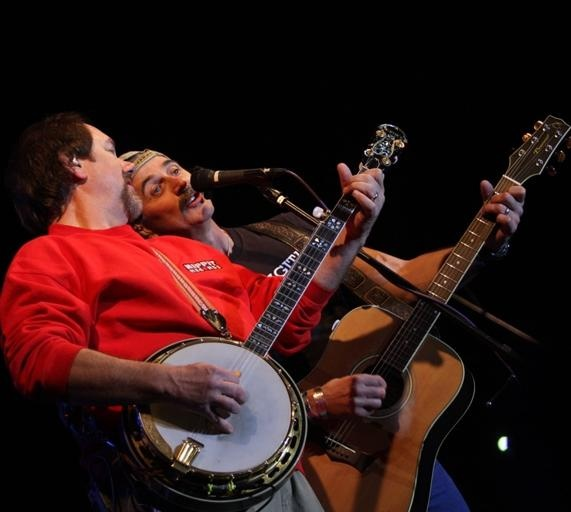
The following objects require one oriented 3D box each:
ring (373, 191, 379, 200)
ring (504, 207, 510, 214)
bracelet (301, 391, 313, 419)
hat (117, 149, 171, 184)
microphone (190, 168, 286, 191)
[{"bbox_3d":[0.448,-0.290,2.905,0.013,0.033,0.028,33,9,-2],"label":"ring"},{"bbox_3d":[1.202,-0.241,3.209,0.038,0.029,0.008,-2,-17,-22],"label":"ring"},{"bbox_3d":[0.113,0.711,2.860,0.029,0.091,0.100,-14,-1,-4],"label":"bracelet"},{"bbox_3d":[-0.950,-0.587,3.853,0.226,0.063,0.295,22,32,30],"label":"hat"},{"bbox_3d":[-0.264,-0.369,3.026,0.605,0.122,0.151,-2,9,18],"label":"microphone"}]
